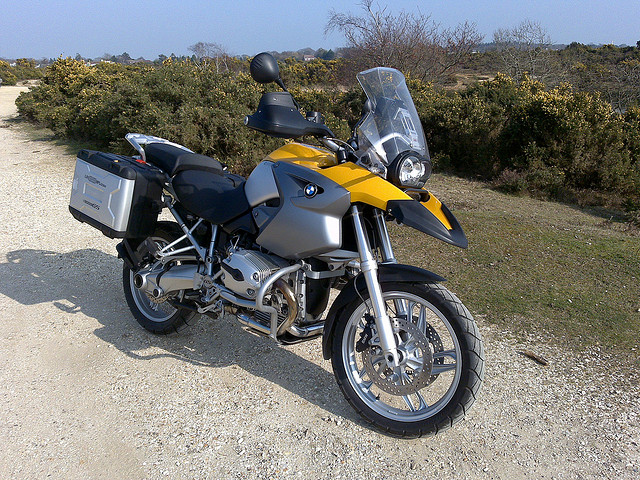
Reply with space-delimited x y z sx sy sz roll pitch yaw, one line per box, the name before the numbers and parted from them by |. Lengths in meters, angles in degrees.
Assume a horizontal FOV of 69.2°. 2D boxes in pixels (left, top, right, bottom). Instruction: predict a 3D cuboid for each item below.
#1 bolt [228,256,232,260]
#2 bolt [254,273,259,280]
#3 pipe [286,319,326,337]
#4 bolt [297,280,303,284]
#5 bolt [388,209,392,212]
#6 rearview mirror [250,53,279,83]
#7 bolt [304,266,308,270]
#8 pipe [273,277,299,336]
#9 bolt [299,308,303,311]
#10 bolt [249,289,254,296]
bolt | -0.802 0.157 4.108 0.026 0.028 0.007 -8 -20 28
bolt | -0.543 0.308 3.935 0.036 0.039 0.012 14 6 6
pipe | -0.113 0.774 4.010 0.164 0.059 0.167 8 10 39
bolt | -0.175 0.352 3.963 0.030 0.033 0.008 0 3 2
bolt | 0.541 -0.227 3.574 0.034 0.026 0.004 19 24 34
rearview mirror | -0.438 -1.347 3.644 0.241 0.221 0.167 -1 20 -17
bolt | -0.121 0.232 3.958 0.026 0.027 0.007 7 4 5
pipe | -0.297 0.586 3.992 0.246 0.512 0.164 21 25 40
bolt | -0.170 0.587 3.980 0.027 0.010 0.028 1 1 10
bolt | -0.595 0.446 3.984 0.032 0.035 0.010 5 4 14
